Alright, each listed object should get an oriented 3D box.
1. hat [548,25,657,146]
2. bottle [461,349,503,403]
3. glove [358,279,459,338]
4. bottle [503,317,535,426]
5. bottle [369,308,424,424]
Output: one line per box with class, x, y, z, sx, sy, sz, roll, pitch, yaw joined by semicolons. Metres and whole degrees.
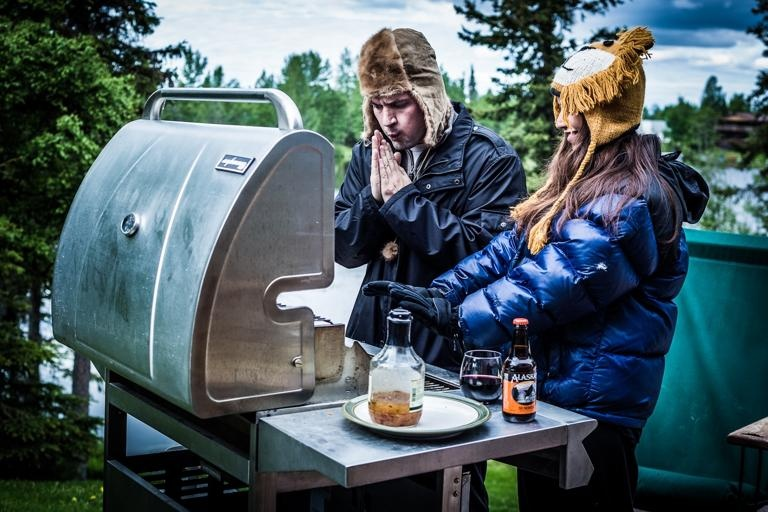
hat;1.318;-1.082;6.862;0.758;0.771;0.611;-4;2;10
bottle;0.567;0.719;6.393;0.287;0.287;0.288;2;1;-9
glove;0.160;0.285;6.511;0.555;0.164;0.301;15;34;-17
bottle;0.787;0.675;6.278;0.190;0.581;0.227;-1;12;6
bottle;0.055;0.652;6.170;0.330;0.641;0.306;-2;12;0
